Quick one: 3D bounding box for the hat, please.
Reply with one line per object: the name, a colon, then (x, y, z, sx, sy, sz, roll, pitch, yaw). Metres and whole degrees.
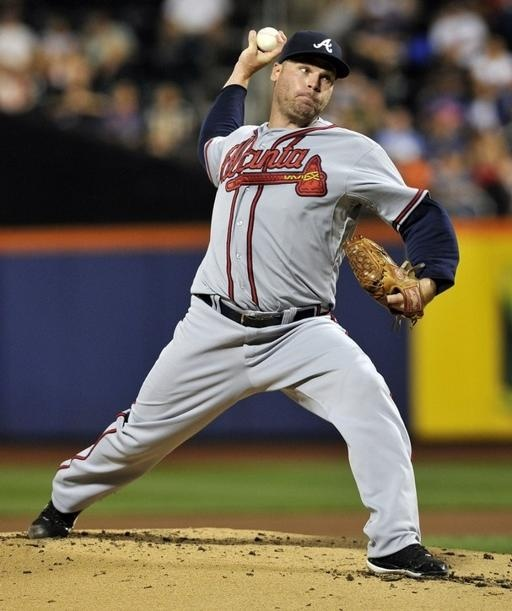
hat: (0.206, -0.942, 3.293, 0.246, 0.123, 0.286, -2, 15, -18)

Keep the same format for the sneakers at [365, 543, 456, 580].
sneakers: (0.497, 0.820, 2.914, 0.286, 0.104, 0.102, 0, 1, 13)

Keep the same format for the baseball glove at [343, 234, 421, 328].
baseball glove: (0.464, -0.092, 3.074, 0.340, 0.206, 0.104, 43, 44, 12)

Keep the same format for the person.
person: (-0.001, 0.039, 3.252, 1.372, 1.732, 0.473, -4, -7, 40)

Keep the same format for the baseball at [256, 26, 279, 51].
baseball: (0.053, -1.114, 3.809, 0.108, 0.091, 0.081, -5, -8, 41)
